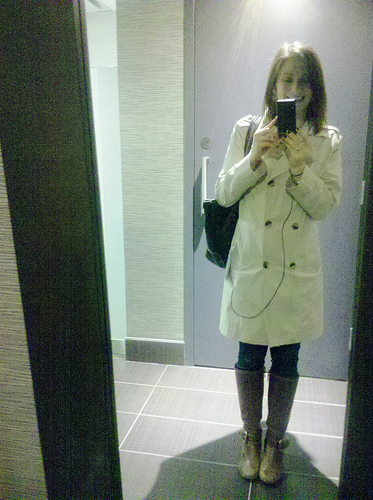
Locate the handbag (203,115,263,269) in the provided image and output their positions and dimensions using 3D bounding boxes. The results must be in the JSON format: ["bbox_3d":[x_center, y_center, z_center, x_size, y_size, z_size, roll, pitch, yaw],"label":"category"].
[{"bbox_3d":[0.123,-0.151,1.132,0.061,0.383,0.183,14,39,-6],"label":"handbag"}]

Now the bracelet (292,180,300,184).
[{"bbox_3d":[0.247,-0.156,1.012,0.009,0.010,0.007,-7,1,-1],"label":"bracelet"}]

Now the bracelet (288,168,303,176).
[{"bbox_3d":[0.248,-0.175,1.011,0.008,0.017,0.032,-11,15,-40],"label":"bracelet"}]

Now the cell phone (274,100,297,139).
[{"bbox_3d":[0.215,-0.285,0.961,0.038,0.075,0.033,2,11,20],"label":"cell phone"}]
